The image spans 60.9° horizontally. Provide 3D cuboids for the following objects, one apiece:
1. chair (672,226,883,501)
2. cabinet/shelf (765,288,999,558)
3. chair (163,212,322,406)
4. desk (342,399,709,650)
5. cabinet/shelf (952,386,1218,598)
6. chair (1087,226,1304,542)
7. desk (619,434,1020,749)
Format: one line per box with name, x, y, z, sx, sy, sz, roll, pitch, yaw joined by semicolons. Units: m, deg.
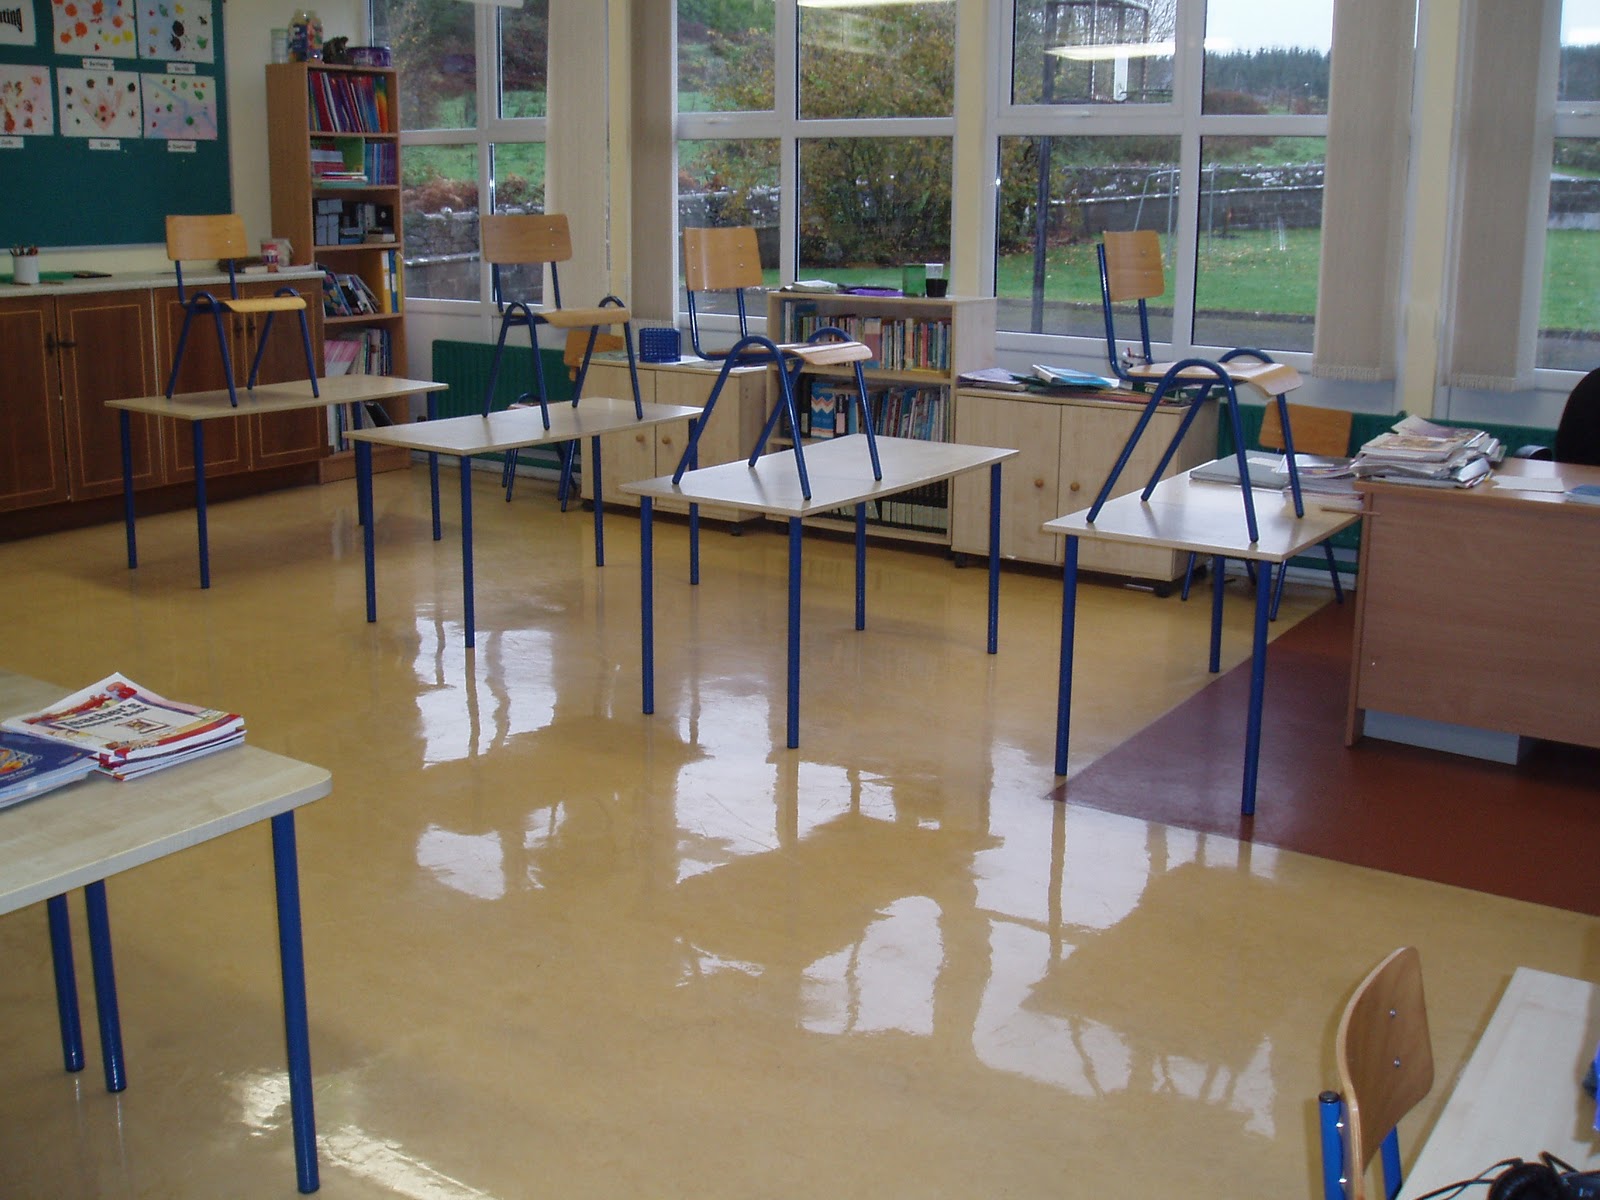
chair;-0.113;-1.165;6.605;0.785;1.254;0.652;8;16;33
cabinet/shelf;0.459;-0.875;6.652;1.269;1.568;0.443;5;10;30
chair;-2.742;-1.416;6.658;0.620;0.887;0.661;-9;17;-33
desk;-1.340;-0.355;6.859;0.590;0.643;1.253;8;17;29
cabinet/shelf;1.327;-0.505;6.165;0.869;0.691;0.349;8;14;27
chair;1.738;-0.955;5.881;0.825;1.282;0.872;-13;18;-33
desk;0.083;-0.140;5.436;0.844;0.959;1.528;13;22;40
